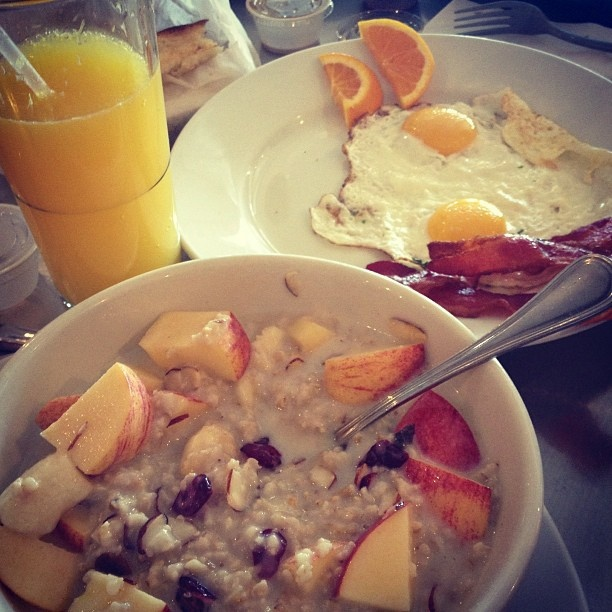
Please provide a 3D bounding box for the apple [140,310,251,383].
[{"bbox_3d":[-0.134,0.038,0.858,0.147,0.053,0.078,10,49,26],"label":"apple"}]

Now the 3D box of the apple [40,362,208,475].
[{"bbox_3d":[-0.222,0.127,0.775,0.122,0.059,0.084,-36,56,-24],"label":"apple"}]

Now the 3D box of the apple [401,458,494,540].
[{"bbox_3d":[0.148,0.206,0.746,0.111,0.030,0.055,23,55,23],"label":"apple"}]
